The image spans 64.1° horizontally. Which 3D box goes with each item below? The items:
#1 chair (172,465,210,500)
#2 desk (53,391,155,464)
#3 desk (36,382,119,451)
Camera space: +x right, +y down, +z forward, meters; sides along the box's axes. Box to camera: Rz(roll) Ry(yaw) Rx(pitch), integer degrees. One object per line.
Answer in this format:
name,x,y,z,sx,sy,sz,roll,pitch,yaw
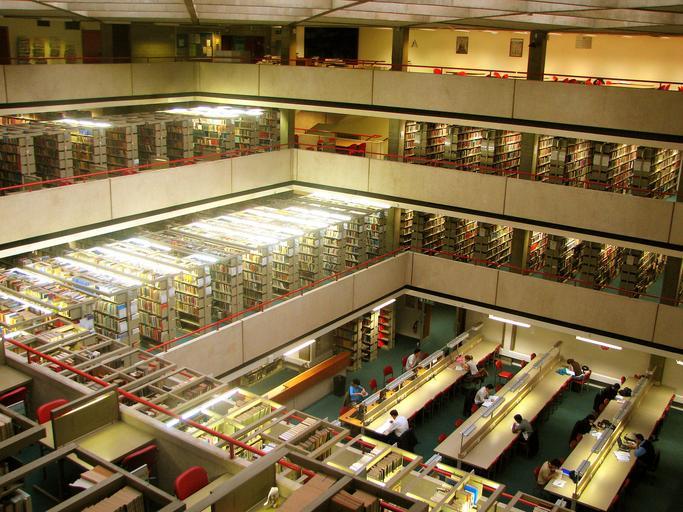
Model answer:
chair,-1.733,2.584,6.323,0.371,0.386,0.317,21,26,35
desk,-2.927,2.167,6.685,0.974,0.525,0.933,18,27,27
desk,-3.290,2.032,6.825,0.507,0.567,1.002,29,36,32
